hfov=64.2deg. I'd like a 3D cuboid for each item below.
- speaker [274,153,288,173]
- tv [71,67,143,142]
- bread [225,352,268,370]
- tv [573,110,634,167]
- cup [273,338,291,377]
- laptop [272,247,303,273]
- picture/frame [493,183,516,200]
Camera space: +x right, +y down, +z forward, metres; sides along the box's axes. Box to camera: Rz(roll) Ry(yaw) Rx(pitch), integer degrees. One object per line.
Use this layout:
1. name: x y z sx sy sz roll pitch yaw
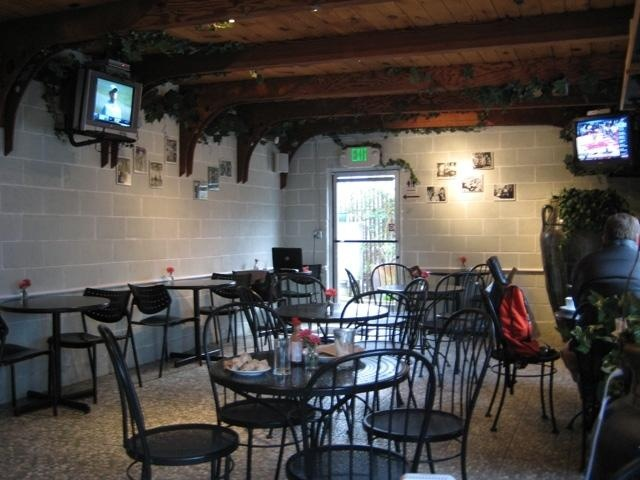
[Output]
1. speaker: -0.685 -1.324 8.806 0.115 0.330 0.354 1 0 35
2. tv: -2.198 -1.393 5.286 0.223 0.620 0.660 3 5 36
3. bread: -0.422 0.698 2.905 0.136 0.051 0.137 1 -2 28
4. tv: 3.394 -1.143 6.244 0.842 0.753 0.528 2 9 44
5. cup: -0.227 0.660 2.974 0.106 0.177 0.277 -1 4 -4
6. laptop: -0.525 0.306 8.093 0.522 0.344 0.362 2 5 24
7. picture/frame: 2.861 -0.744 7.872 0.273 0.216 0.038 2 4 28
